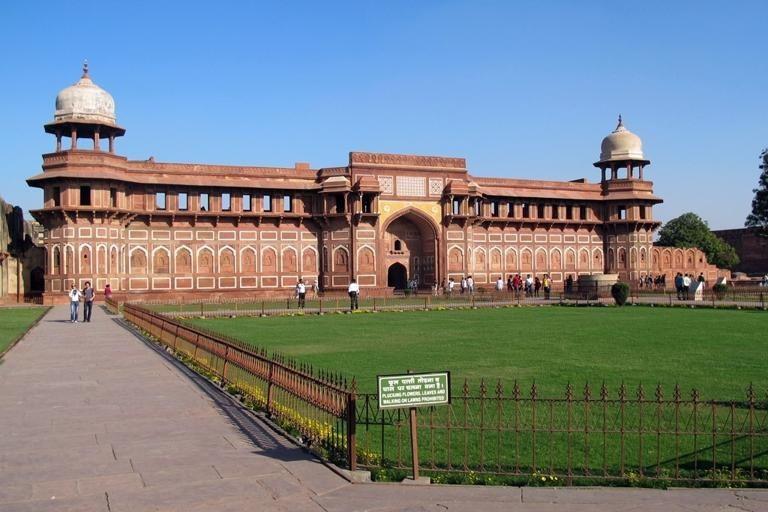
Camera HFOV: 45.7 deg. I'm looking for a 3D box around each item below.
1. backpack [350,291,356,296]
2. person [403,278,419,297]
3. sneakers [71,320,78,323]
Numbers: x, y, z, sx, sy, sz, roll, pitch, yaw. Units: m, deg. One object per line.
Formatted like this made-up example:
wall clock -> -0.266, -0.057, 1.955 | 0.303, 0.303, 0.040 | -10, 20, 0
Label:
backpack -> -1.095, 1.334, 32.551 | 0.239, 0.164, 0.131 | -1, -4, 1
person -> 1.367, 1.555, 44.897 | 0.802, 0.538, 1.358 | 0, 1, -2
sneakers -> -9.176, 1.934, 27.033 | 0.108, 0.074, 0.180 | 1, -1, -17
